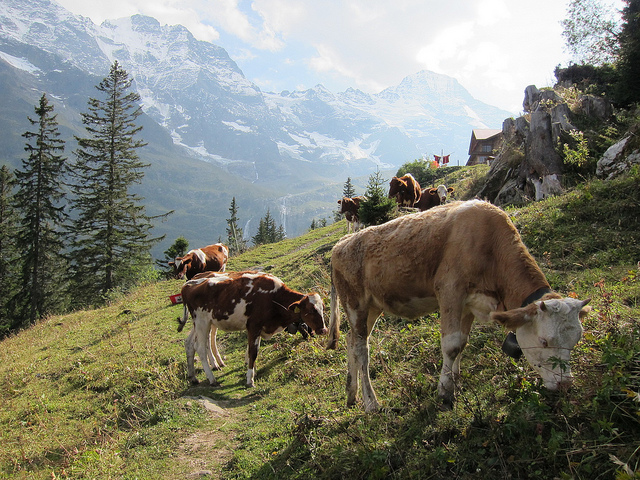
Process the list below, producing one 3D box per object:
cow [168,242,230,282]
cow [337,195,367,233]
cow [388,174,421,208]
[{"bbox_3d":[-5.652,1.246,22.368,1.254,1.901,3.729,-2,2,25],"label":"cow"},{"bbox_3d":[2.456,-1.578,31.533,1.200,2.367,4.103,4,1,38],"label":"cow"},{"bbox_3d":[4.755,-3.014,26.202,0.731,1.272,2.166,22,-2,-32],"label":"cow"}]
